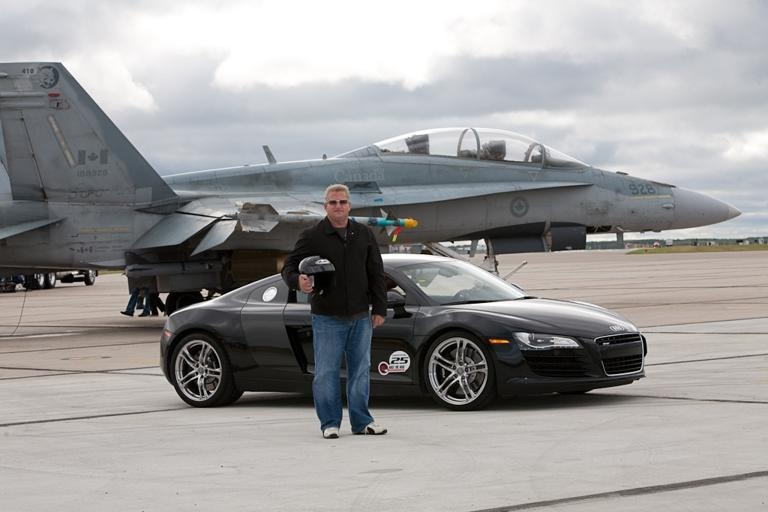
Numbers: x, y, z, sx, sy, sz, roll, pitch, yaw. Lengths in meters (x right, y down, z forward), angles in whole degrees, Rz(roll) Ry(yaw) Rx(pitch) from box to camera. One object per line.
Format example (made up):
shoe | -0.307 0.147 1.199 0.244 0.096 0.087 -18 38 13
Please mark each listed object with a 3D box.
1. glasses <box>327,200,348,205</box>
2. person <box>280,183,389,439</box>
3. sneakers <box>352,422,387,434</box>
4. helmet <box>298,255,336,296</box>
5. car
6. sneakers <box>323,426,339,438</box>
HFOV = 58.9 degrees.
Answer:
glasses | -0.451 -0.514 6.614 0.201 0.048 0.077 -2 4 -6
person | -0.453 0.536 6.642 0.970 2.442 0.459 -5 6 -4
sneakers | -0.116 1.692 6.688 0.405 0.097 0.117 -3 -5 12
helmet | -0.636 0.185 6.491 0.282 0.358 0.278 -2 5 18
car | 0.092 0.937 8.315 5.176 0.938 2.395 -2 -3 14
sneakers | -0.464 1.701 6.552 0.228 0.052 0.077 -9 -2 6
